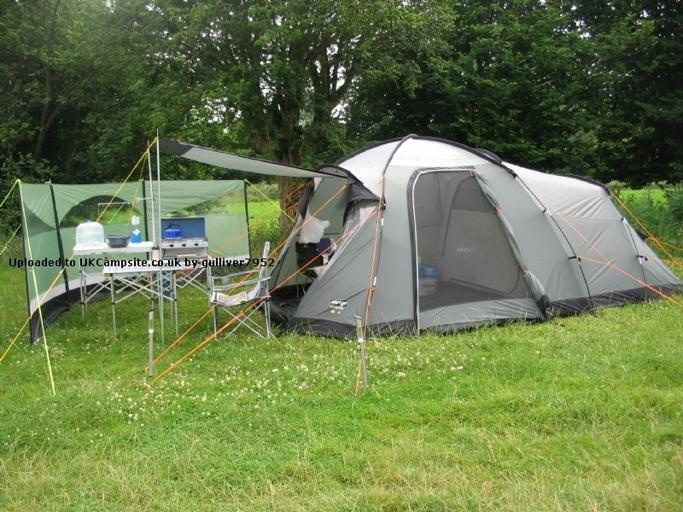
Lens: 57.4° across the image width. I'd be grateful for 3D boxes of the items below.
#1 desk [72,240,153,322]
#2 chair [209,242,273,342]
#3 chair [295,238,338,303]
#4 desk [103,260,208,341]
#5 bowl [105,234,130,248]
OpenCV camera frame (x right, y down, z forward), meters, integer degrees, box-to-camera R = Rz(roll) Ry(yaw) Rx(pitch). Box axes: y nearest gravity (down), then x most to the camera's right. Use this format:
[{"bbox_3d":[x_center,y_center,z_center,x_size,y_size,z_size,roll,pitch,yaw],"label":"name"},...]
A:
[{"bbox_3d":[-3.071,0.366,9.423,0.973,0.854,1.324,-4,9,-16],"label":"desk"},{"bbox_3d":[-1.440,0.528,8.811,0.875,1.355,0.963,-6,7,-11],"label":"chair"},{"bbox_3d":[-0.425,0.101,9.746,0.599,0.780,0.731,-5,7,-9],"label":"chair"},{"bbox_3d":[-2.838,0.579,9.247,0.948,0.722,0.573,-12,-3,-16],"label":"desk"},{"bbox_3d":[-3.101,-0.209,8.648,0.199,0.100,0.179,-3,9,-7],"label":"bowl"}]
